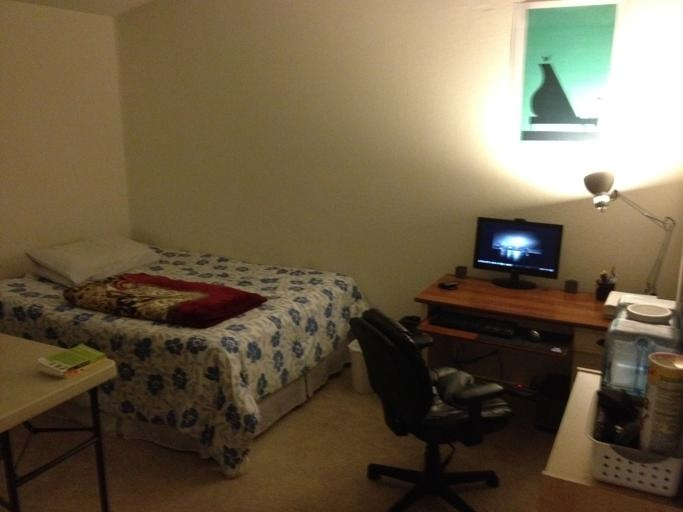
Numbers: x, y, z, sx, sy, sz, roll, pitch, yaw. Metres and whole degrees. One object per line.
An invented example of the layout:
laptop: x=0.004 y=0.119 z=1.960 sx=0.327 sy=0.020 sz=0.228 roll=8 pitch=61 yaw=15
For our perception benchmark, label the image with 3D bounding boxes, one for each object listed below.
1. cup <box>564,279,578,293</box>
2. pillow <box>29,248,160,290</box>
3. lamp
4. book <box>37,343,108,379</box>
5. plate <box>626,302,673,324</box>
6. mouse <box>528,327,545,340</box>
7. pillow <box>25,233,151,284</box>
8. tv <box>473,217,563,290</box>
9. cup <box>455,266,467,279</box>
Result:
cup: x=1.524 y=0.200 z=3.610 sx=0.077 sy=0.073 sz=0.083 roll=0 pitch=6 yaw=0
pillow: x=-1.982 y=0.015 z=4.401 sx=0.414 sy=0.189 sz=0.618 roll=17 pitch=19 yaw=28
lamp: x=1.781 y=-0.144 z=3.387 sx=0.501 sy=0.745 sz=0.441 roll=7 pitch=10 yaw=31
book: x=-1.217 y=0.453 z=2.461 sx=0.142 sy=0.042 sz=0.183 roll=11 pitch=15 yaw=25
plate: x=1.399 y=0.262 z=2.472 sx=0.167 sy=0.060 sz=0.173 roll=10 pitch=11 yaw=42
mouse: x=1.183 y=0.474 z=3.310 sx=0.072 sy=0.074 sz=0.074 roll=1 pitch=10 yaw=32
pillow: x=-1.982 y=0.008 z=4.422 sx=0.468 sy=0.199 sz=0.652 roll=14 pitch=18 yaw=24
tv: x=1.223 y=-0.027 z=3.707 sx=0.447 sy=0.377 sz=0.172 roll=7 pitch=11 yaw=26
cup: x=0.867 y=0.118 z=3.935 sx=0.082 sy=0.081 sz=0.084 roll=-1 pitch=6 yaw=0
